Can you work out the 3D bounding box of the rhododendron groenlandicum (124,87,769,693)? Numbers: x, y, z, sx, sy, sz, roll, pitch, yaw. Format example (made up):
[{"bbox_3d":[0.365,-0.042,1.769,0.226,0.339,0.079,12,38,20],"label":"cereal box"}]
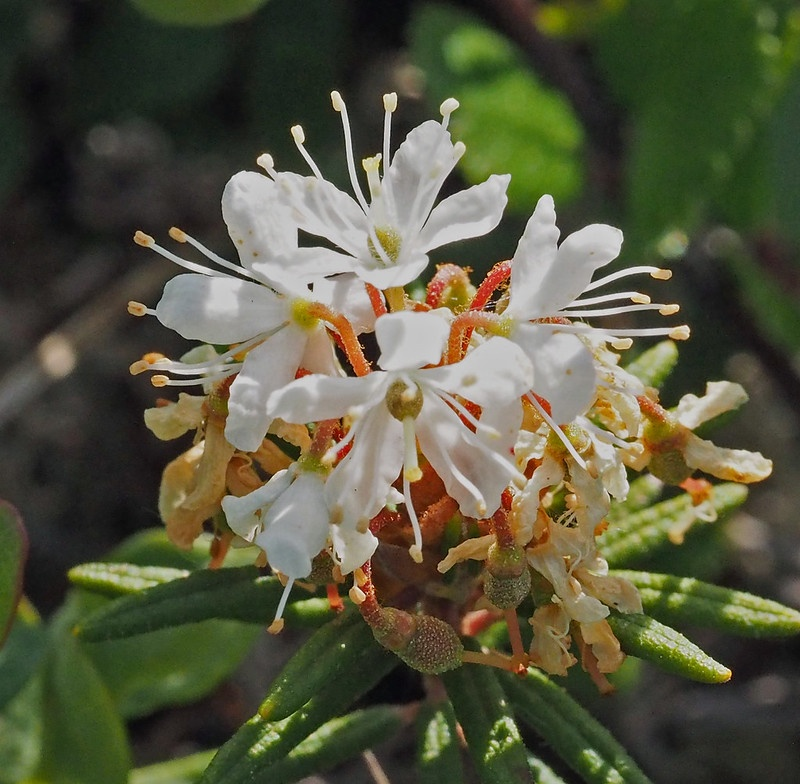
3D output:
[{"bbox_3d":[0.090,0.041,1.480,0.783,0.812,0.678,13,75,12],"label":"rhododendron groenlandicum"}]
